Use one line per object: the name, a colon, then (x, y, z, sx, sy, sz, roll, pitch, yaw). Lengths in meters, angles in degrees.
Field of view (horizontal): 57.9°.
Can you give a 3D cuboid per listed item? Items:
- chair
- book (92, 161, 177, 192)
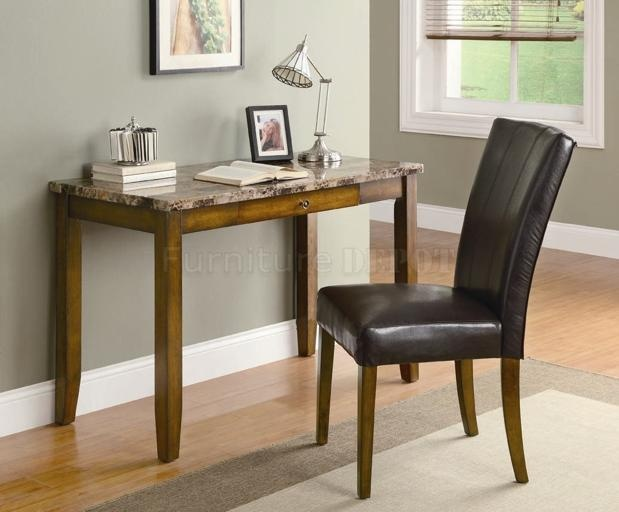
chair: (0.392, 0.120, 1.734, 0.682, 1.002, 0.586, -4, 11, -16)
book: (-0.616, -0.281, 1.920, 0.305, 0.099, 0.305, -3, 8, -11)
